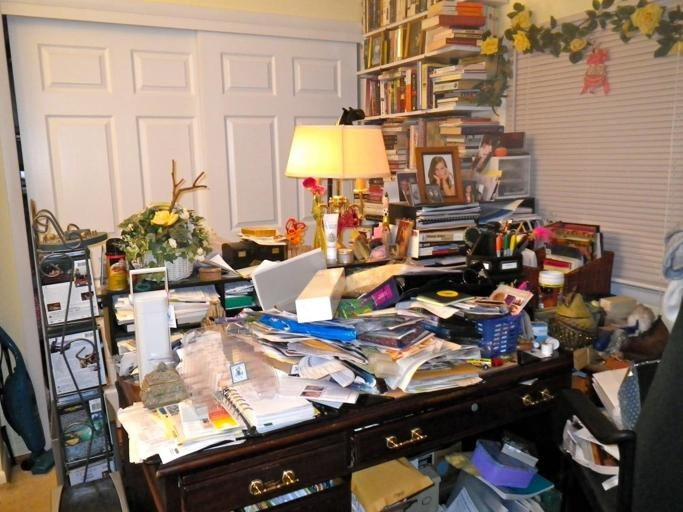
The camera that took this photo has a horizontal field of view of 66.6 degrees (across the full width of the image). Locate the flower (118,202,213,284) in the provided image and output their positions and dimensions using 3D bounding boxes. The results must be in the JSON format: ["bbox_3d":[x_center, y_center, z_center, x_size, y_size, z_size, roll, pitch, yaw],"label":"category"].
[{"bbox_3d":[-0.801,-0.028,2.196,0.370,0.245,0.408,-1,-5,22],"label":"flower"}]

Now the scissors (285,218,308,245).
[{"bbox_3d":[-0.225,-0.122,2.543,0.096,0.127,0.183,-7,11,-6],"label":"scissors"}]

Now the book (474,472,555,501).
[{"bbox_3d":[0.645,0.833,1.912,0.159,0.033,0.144,-1,9,-25],"label":"book"}]

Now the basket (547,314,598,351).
[{"bbox_3d":[0.935,0.300,2.147,0.171,0.112,0.172,-3,5,-40],"label":"basket"}]

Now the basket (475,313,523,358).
[{"bbox_3d":[0.501,0.252,1.683,0.147,0.122,0.085,-8,13,-30],"label":"basket"}]

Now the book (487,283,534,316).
[{"bbox_3d":[0.576,0.141,1.770,0.107,0.030,0.107,15,39,35],"label":"book"}]

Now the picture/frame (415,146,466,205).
[{"bbox_3d":[0.525,-0.431,2.808,0.363,0.375,0.029,-3,-7,-22],"label":"picture/frame"}]

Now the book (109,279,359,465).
[{"bbox_3d":[-0.321,0.357,1.508,0.619,0.217,0.342,-10,11,-22],"label":"book"}]

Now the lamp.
[{"bbox_3d":[-0.016,-0.439,2.344,0.335,0.298,0.312,0,14,-1],"label":"lamp"}]

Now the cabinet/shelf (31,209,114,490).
[{"bbox_3d":[-1.061,0.371,2.067,0.259,1.124,0.394,-12,13,-25],"label":"cabinet/shelf"}]
